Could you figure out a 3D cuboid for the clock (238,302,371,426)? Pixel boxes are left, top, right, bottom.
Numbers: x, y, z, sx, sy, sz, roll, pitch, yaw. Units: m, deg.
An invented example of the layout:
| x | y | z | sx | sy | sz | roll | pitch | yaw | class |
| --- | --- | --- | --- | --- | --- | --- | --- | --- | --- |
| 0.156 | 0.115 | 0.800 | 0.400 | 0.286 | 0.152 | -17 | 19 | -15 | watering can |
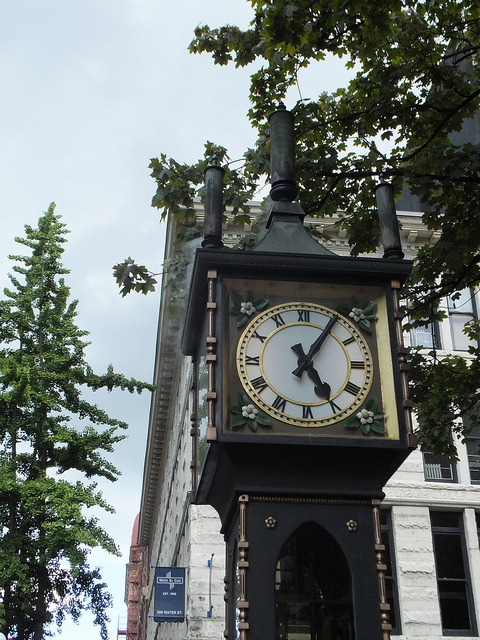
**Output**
| x | y | z | sx | sy | sz | roll | pitch | yaw | class |
| --- | --- | --- | --- | --- | --- | --- | --- | --- | --- |
| 0.391 | 0.332 | 8.755 | 0.881 | 0.863 | 0.062 | 4 | -34 | -14 | clock |
